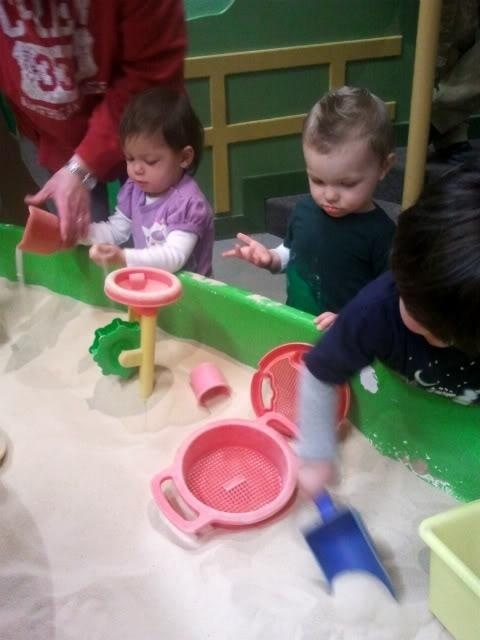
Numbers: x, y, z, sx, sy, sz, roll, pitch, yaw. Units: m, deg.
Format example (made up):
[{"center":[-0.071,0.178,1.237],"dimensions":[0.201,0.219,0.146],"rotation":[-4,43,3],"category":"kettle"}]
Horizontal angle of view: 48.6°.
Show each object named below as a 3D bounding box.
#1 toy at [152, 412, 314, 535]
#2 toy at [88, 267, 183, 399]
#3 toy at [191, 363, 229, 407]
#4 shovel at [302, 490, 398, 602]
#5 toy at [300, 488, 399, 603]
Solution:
[{"center":[-0.014,0.243,0.832],"dimensions":[0.250,0.071,0.209],"rotation":[-9,35,-11],"category":"toy"},{"center":[-0.190,0.009,1.069],"dimensions":[0.169,0.238,0.172],"rotation":[7,33,14],"category":"toy"},{"center":[-0.059,0.124,1.047],"dimensions":[0.074,0.052,0.073],"rotation":[-13,35,-16],"category":"toy"},{"center":[0.119,0.291,0.726],"dimensions":[0.085,0.052,0.159],"rotation":[-25,37,-3],"category":"shovel"},{"center":[0.129,0.291,0.688],"dimensions":[0.060,0.034,0.115],"rotation":[-26,44,14],"category":"toy"}]
